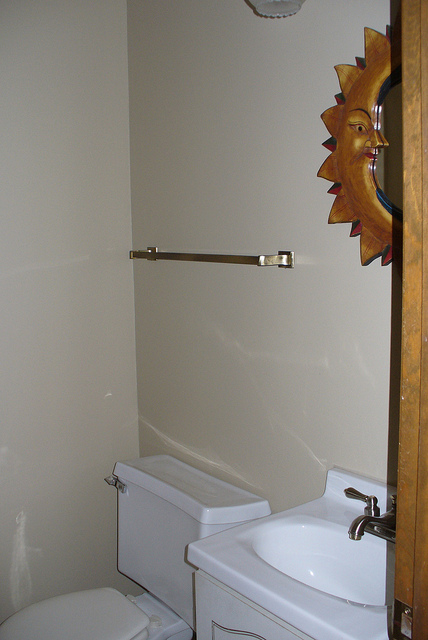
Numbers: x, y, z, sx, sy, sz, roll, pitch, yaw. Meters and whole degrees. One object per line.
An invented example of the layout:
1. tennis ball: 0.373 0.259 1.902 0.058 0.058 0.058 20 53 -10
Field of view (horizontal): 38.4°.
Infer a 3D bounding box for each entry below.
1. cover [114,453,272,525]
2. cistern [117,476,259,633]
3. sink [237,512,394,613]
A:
1. cover: -0.052 0.392 1.569 0.153 0.036 0.296 5 8 -38
2. cistern: -0.104 0.591 1.680 0.353 0.331 0.197 -3 -6 43
3. sink: 0.181 0.452 1.129 0.276 0.112 0.209 -1 1 5
